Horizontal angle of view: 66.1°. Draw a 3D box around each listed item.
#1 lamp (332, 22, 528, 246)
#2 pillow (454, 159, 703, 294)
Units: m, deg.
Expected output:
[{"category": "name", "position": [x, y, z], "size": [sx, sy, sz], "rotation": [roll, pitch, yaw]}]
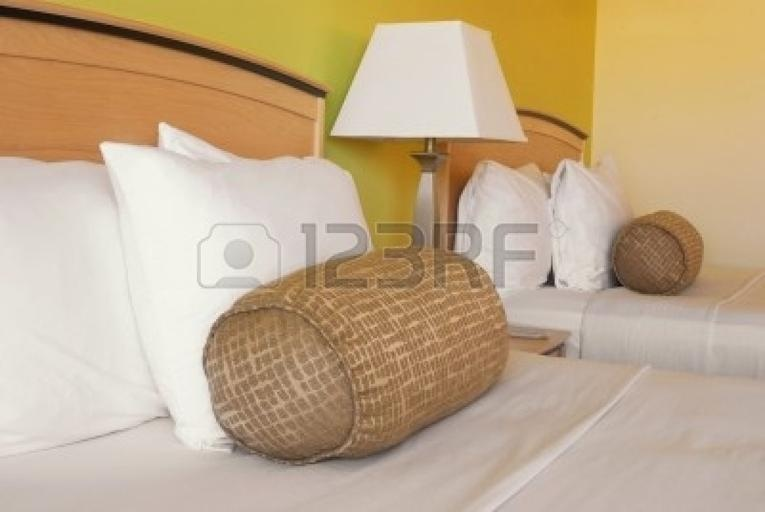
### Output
[{"category": "lamp", "position": [0.171, -0.364, 2.116], "size": [0.667, 0.748, 0.679], "rotation": [3, 13, 20]}, {"category": "pillow", "position": [0.772, -0.105, 2.413], "size": [0.679, 0.342, 0.745], "rotation": [5, 3, 29]}]
